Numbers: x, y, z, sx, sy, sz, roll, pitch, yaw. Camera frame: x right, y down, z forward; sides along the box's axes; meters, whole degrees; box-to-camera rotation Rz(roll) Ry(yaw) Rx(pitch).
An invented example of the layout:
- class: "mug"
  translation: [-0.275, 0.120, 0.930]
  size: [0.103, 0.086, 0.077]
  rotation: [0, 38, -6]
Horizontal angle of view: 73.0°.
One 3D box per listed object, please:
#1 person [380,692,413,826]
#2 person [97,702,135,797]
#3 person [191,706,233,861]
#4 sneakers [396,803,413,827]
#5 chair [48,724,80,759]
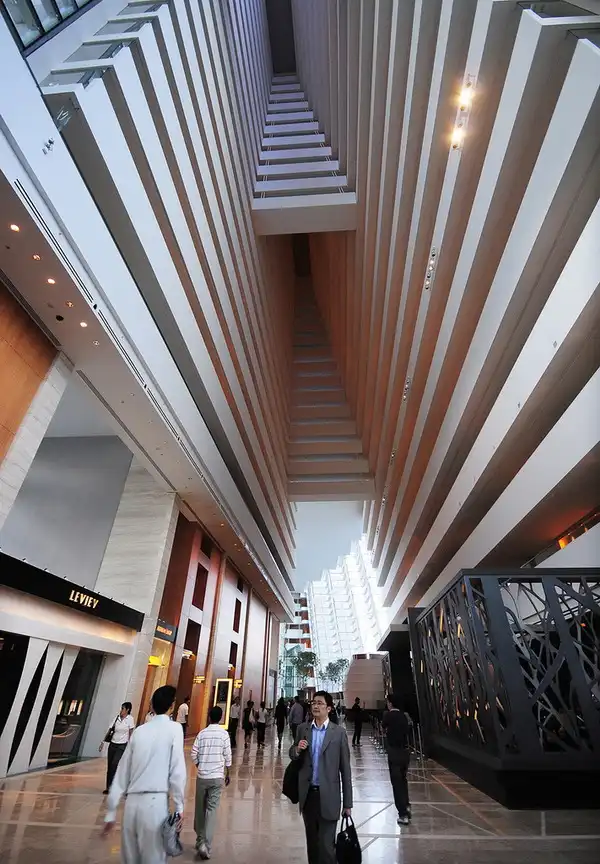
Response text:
- class: "person"
  translation: [0.984, 3.186, 3.943]
  size: [0.241, 0.843, 0.638]
  rotation: [-5, -28, 11]
- class: "person"
  translation: [-2.183, 3.675, 4.802]
  size: [0.243, 0.991, 0.221]
  rotation: [12, -3, -9]
- class: "person"
  translation: [-0.664, 2.491, 2.978]
  size: [0.285, 0.844, 0.849]
  rotation: [4, -29, -9]
- class: "sneakers"
  translation: [0.981, 3.458, 3.742]
  size: [0.099, 0.163, 0.353]
  rotation: [2, -29, 5]
- class: "chair"
  translation: [-4.878, 6.327, 8.349]
  size: [0.283, 0.569, 0.962]
  rotation: [4, -31, -7]
